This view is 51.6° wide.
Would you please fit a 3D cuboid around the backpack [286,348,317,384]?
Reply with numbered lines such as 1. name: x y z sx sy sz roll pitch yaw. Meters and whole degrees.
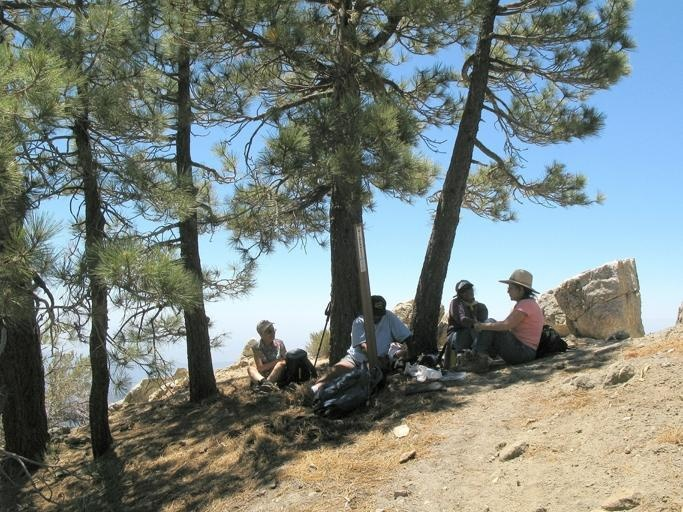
1. backpack: -0.723 1.818 11.595 0.445 0.704 0.619 -1 20 -1

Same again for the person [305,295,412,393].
1. person: 0.319 1.231 10.570 1.746 1.208 1.100 -9 19 -21

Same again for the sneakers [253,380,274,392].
1. sneakers: -1.292 2.078 11.403 0.370 0.174 0.144 6 11 18

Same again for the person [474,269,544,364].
1. person: 2.579 0.986 10.910 1.004 1.708 0.863 8 -4 8

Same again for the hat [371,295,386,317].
1. hat: 0.546 0.736 10.586 0.191 0.294 0.339 -5 -7 5

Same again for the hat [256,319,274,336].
1. hat: -1.241 1.149 11.422 0.252 0.238 0.542 -4 -7 -7

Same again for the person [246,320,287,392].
1. person: -1.224 1.619 11.616 0.646 1.186 1.127 -3 -7 -3
